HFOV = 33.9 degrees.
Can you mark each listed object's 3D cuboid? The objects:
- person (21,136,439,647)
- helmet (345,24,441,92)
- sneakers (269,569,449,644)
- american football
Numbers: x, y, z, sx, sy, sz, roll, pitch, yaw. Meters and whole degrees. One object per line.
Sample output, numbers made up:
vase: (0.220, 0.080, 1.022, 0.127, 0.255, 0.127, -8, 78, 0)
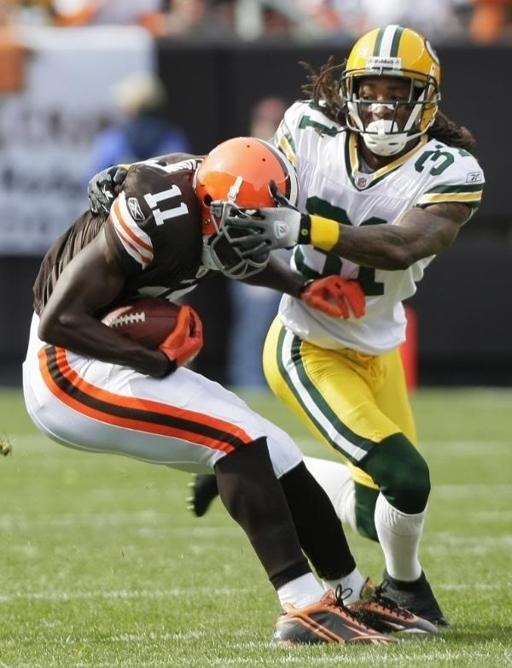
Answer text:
person: (-0.286, 0.220, 2.443, 1.412, 1.272, 1.125, -5, -10, 18)
helmet: (0.354, -0.696, 2.191, 0.256, 0.196, 0.279, 9, 24, 12)
sneakers: (0.169, 0.608, 1.882, 0.512, 0.155, 0.144, 1, -8, -6)
american football: (-0.290, -0.032, 1.824, 0.233, 0.104, 0.136, 0, -1, -21)
